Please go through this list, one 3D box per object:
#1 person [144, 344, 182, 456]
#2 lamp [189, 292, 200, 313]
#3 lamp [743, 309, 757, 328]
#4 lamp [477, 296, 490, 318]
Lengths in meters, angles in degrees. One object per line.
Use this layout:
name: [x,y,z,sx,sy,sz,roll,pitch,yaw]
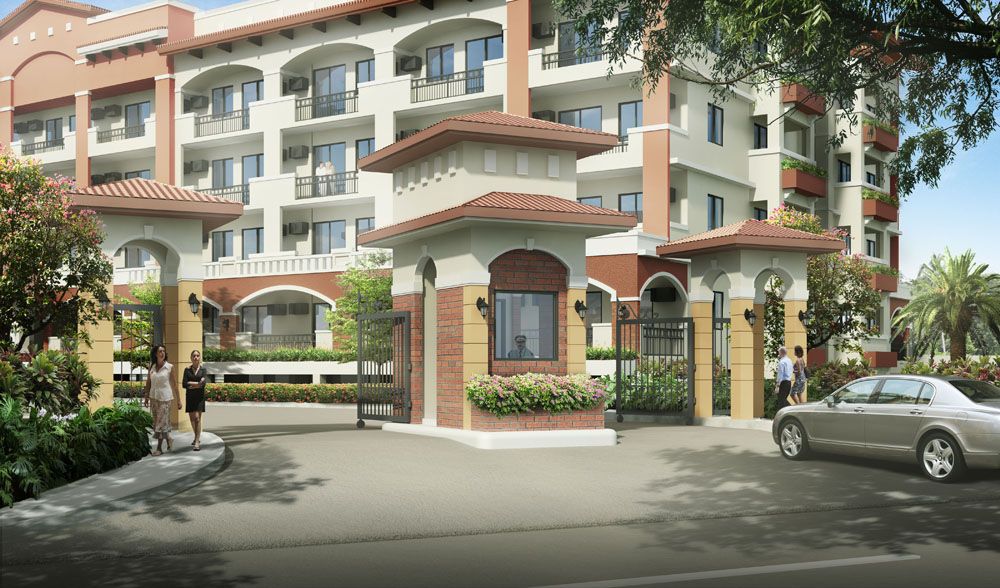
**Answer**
person: [-9.117,2.796,26.278,0.765,2.827,1.266,-2,5,-20]
lamp: [-9.723,0.294,30.936,0.300,0.650,0.183,-4,7,-39]
lamp: [8.532,0.818,33.506,0.679,0.728,0.301,1,-3,-21]
lamp: [-0.544,0.369,28.580,0.372,0.622,0.174,-2,6,-21]
